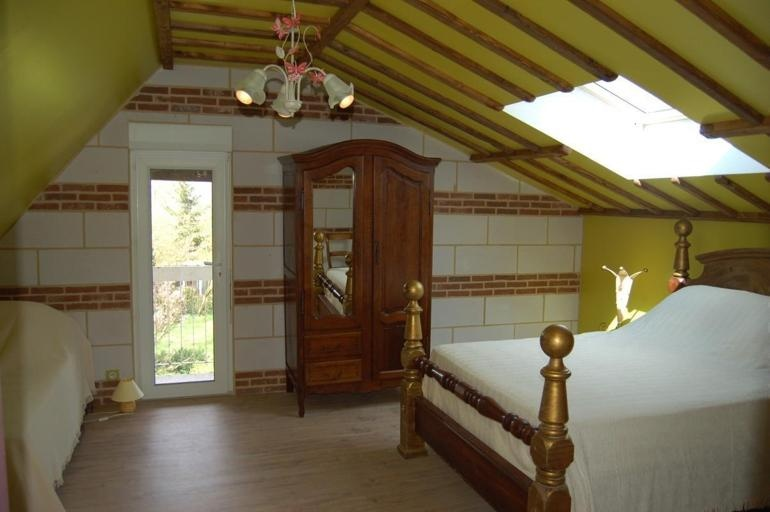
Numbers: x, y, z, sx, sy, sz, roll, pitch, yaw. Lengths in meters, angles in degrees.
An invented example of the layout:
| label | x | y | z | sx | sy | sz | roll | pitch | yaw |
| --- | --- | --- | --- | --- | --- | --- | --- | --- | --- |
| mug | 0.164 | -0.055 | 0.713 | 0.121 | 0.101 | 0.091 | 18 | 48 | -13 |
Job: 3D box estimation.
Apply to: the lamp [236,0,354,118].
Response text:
| label | x | y | z | sx | sy | sz | roll | pitch | yaw |
| --- | --- | --- | --- | --- | --- | --- | --- | --- | --- |
| lamp | -0.838 | -1.609 | 5.004 | 1.156 | 0.913 | 2.282 | -1 | 14 | -3 |

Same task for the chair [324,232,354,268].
| label | x | y | z | sx | sy | sz | roll | pitch | yaw |
| --- | --- | --- | --- | --- | --- | --- | --- | --- | --- |
| chair | -0.436 | -0.080 | 5.553 | 0.284 | 0.464 | 0.306 | 0 | 1 | -12 |

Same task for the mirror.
| label | x | y | z | sx | sy | sz | roll | pitch | yaw |
| --- | --- | --- | --- | --- | --- | --- | --- | --- | --- |
| mirror | -0.474 | -0.123 | 5.559 | 0.368 | 1.337 | 0.275 | -1 | 14 | -3 |

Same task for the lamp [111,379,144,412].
| label | x | y | z | sx | sy | sz | roll | pitch | yaw |
| --- | --- | --- | --- | --- | --- | --- | --- | --- | --- |
| lamp | -2.453 | 1.352 | 5.658 | 0.268 | 0.300 | 0.282 | -5 | -2 | 36 |
